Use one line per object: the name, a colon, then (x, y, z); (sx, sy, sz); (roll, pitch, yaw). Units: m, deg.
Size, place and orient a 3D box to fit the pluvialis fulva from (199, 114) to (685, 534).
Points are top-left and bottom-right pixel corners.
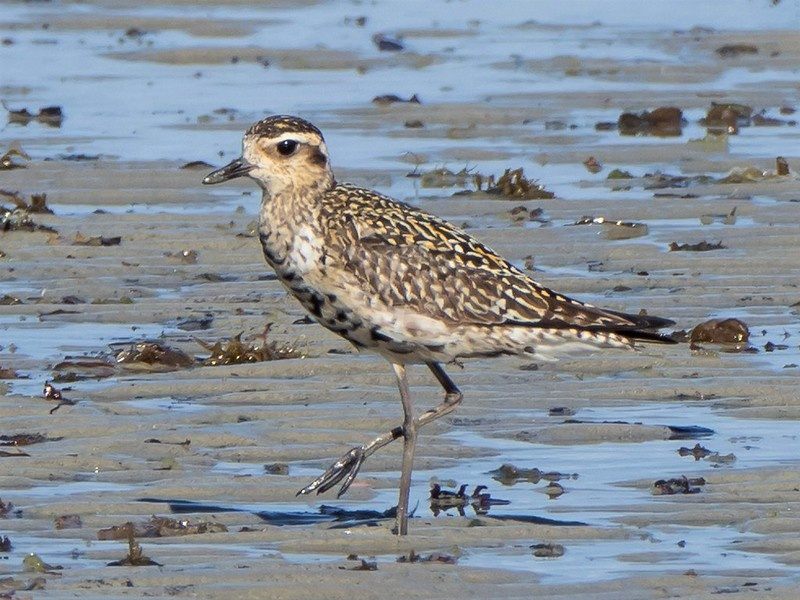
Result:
pluvialis fulva: (0.064, 0.065, 7.217); (2.161, 2.113, 0.644); (1, -2, -1)
